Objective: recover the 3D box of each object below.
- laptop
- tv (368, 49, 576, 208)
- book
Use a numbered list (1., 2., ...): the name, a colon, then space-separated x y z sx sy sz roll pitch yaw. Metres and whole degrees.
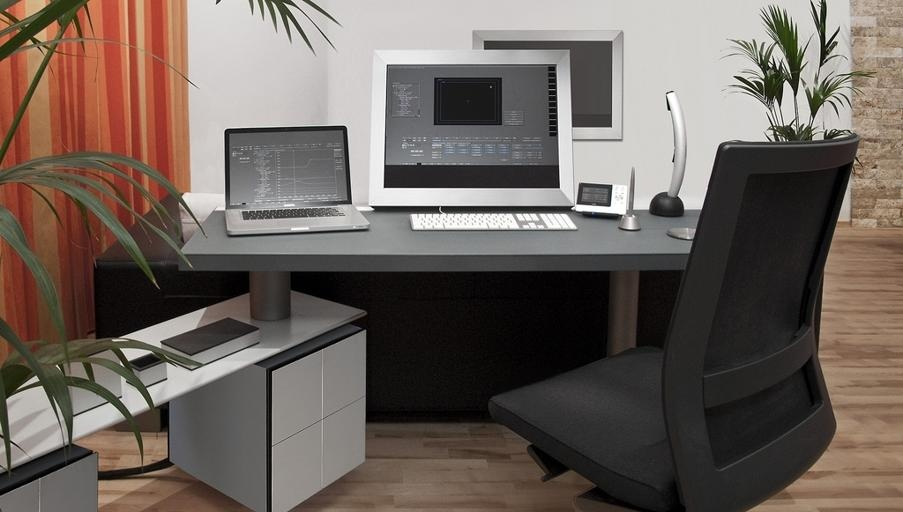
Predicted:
1. laptop: -0.790 -0.381 3.350 0.741 0.448 0.568 -2 18 -12
2. tv: 0.070 -0.622 3.474 0.901 0.616 0.089 0 -3 0
3. book: -1.016 0.354 2.938 0.195 0.059 0.288 15 22 36
